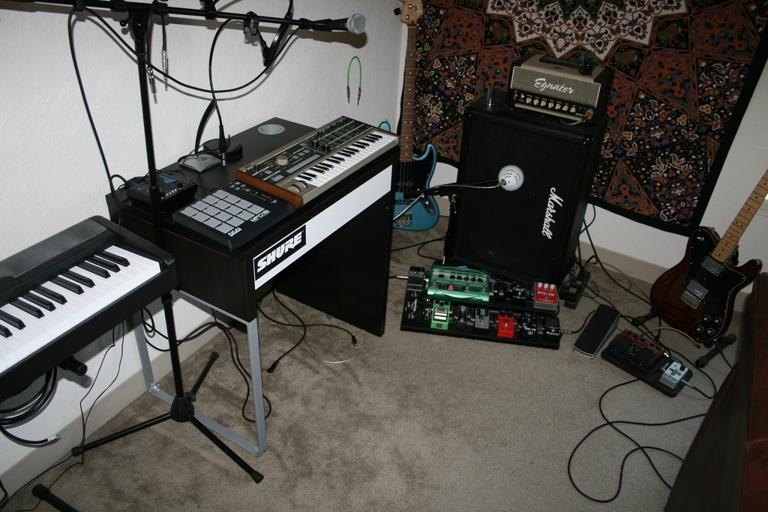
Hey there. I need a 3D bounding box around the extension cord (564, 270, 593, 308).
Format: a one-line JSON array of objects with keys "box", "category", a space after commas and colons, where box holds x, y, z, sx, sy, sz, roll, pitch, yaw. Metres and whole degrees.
[{"box": [1.179, 0.147, 3.683, 0.093, 0.292, 0.084, 16, -5, 12], "category": "extension cord"}]

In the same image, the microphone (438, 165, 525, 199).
[{"box": [0.540, -0.416, 3.227, 0.494, 0.196, 0.086, -2, 66, -18], "category": "microphone"}]

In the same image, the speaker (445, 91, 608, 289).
[{"box": [0.817, -0.374, 3.640, 0.712, 1.036, 0.471, 18, 29, 22], "category": "speaker"}]

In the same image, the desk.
[{"box": [-0.643, 0.176, 2.816, 0.783, 1.188, 1.095, 25, 43, 22], "category": "desk"}]
